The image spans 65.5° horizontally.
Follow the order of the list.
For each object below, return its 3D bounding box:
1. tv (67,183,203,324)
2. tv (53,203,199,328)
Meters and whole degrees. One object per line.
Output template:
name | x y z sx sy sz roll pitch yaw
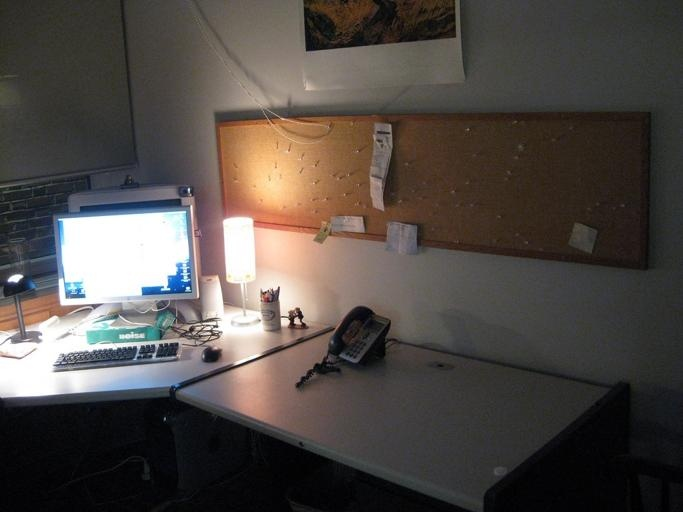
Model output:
tv | -1.135 -0.021 3.196 1.044 0.750 0.607 -2 4 -12
tv | -1.056 0.039 2.647 0.604 0.423 0.068 -2 4 3
